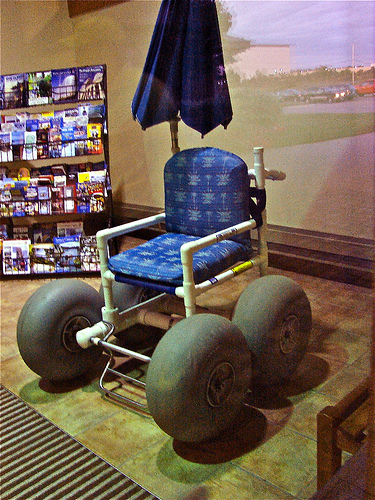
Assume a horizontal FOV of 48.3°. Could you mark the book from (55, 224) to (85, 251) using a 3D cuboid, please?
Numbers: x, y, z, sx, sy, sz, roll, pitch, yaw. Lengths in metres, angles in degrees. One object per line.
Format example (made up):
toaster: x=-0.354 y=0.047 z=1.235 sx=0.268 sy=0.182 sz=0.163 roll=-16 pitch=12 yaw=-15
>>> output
book: x=-1.072 y=-0.103 z=3.852 sx=0.269 sy=0.229 sz=0.157 roll=4 pitch=-5 yaw=5

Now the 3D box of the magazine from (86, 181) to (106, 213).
magazine: x=-0.806 y=-0.476 z=3.757 sx=0.144 sy=0.277 sz=0.091 roll=-4 pitch=12 yaw=5

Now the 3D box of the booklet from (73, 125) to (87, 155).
booklet: x=-0.928 y=-0.963 z=3.668 sx=0.131 sy=0.240 sz=0.051 roll=-6 pitch=12 yaw=-3

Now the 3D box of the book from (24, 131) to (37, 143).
book: x=-1.397 y=-1.004 z=3.718 sx=0.110 sy=0.107 sz=0.039 roll=-3 pitch=12 yaw=9

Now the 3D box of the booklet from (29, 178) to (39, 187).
booklet: x=-1.367 y=-0.606 z=3.739 sx=0.065 sy=0.055 sz=0.061 roll=0 pitch=-1 yaw=-2

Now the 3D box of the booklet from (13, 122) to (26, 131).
booklet: x=-1.497 y=-1.109 z=3.739 sx=0.095 sy=0.061 sz=0.013 roll=3 pitch=1 yaw=27

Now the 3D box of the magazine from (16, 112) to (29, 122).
magazine: x=-1.475 y=-1.189 z=3.735 sx=0.115 sy=0.096 sz=0.084 roll=-8 pitch=11 yaw=-40

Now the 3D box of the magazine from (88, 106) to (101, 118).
magazine: x=-0.802 y=-1.185 z=3.601 sx=0.128 sy=0.111 sz=0.091 roll=5 pitch=16 yaw=14

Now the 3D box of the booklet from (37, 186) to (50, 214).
booklet: x=-1.292 y=-0.450 z=3.763 sx=0.130 sy=0.245 sz=0.032 roll=-3 pitch=12 yaw=11

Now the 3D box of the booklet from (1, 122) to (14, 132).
booklet: x=-1.615 y=-1.100 z=3.755 sx=0.075 sy=0.095 sz=0.098 roll=5 pitch=8 yaw=27

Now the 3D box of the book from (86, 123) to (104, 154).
book: x=-0.860 y=-0.987 z=3.710 sx=0.179 sy=0.264 sz=0.162 roll=-8 pitch=18 yaw=-25

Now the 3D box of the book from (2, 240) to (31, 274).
book: x=-1.551 y=0.074 z=3.822 sx=0.342 sy=0.346 sz=0.028 roll=1 pitch=-6 yaw=-2

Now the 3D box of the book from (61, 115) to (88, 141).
book: x=-0.983 y=-1.065 z=3.651 sx=0.262 sy=0.206 sz=0.046 roll=-2 pitch=12 yaw=12

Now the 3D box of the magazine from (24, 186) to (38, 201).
magazine: x=-1.400 y=-0.516 z=3.751 sx=0.143 sy=0.124 sz=0.014 roll=2 pitch=7 yaw=-4

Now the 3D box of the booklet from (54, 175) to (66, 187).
booklet: x=-1.143 y=-0.617 z=3.739 sx=0.125 sy=0.108 sz=0.085 roll=-5 pitch=14 yaw=-23

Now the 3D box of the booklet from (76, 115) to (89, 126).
booklet: x=-0.917 y=-1.125 z=3.638 sx=0.099 sy=0.086 sz=0.025 roll=8 pitch=10 yaw=11

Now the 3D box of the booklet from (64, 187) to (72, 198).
booklet: x=-1.065 y=-0.514 z=3.736 sx=0.074 sy=0.096 sz=0.018 roll=-4 pitch=12 yaw=3

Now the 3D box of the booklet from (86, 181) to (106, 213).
booklet: x=-0.806 y=-0.476 z=3.757 sx=0.144 sy=0.277 sz=0.091 roll=-4 pitch=12 yaw=5

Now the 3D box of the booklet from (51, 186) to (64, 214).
booklet: x=-1.159 y=-0.449 z=3.753 sx=0.132 sy=0.238 sz=0.036 roll=-4 pitch=12 yaw=8

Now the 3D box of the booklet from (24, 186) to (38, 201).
booklet: x=-1.400 y=-0.514 z=3.751 sx=0.141 sy=0.115 sz=0.014 roll=2 pitch=6 yaw=-3

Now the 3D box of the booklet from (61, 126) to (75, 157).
booklet: x=-1.058 y=-0.957 z=3.687 sx=0.144 sy=0.251 sz=0.035 roll=-2 pitch=13 yaw=16

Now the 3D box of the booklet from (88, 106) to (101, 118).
booklet: x=-0.800 y=-1.187 z=3.600 sx=0.128 sy=0.111 sz=0.091 roll=5 pitch=16 yaw=14

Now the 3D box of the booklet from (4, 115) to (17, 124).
booklet: x=-1.588 y=-1.179 z=3.797 sx=0.073 sy=0.091 sz=0.081 roll=1 pitch=4 yaw=11

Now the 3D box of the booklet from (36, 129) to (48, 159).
booklet: x=-1.290 y=-0.946 z=3.721 sx=0.130 sy=0.248 sz=0.033 roll=-3 pitch=12 yaw=12

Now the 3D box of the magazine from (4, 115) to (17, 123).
magazine: x=-1.578 y=-1.173 z=3.743 sx=0.072 sy=0.087 sz=0.078 roll=2 pitch=5 yaw=16

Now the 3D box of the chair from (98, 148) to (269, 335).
chair: x=-0.036 y=-0.063 z=2.115 sx=0.623 sy=0.890 sz=0.727 roll=2 pitch=13 yaw=30

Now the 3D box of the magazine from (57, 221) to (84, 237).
magazine: x=-1.074 y=-0.197 z=3.865 sx=0.267 sy=0.160 sz=0.138 roll=2 pitch=17 yaw=7

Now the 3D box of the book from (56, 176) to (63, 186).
book: x=-1.143 y=-0.616 z=3.740 sx=0.081 sy=0.068 sz=0.018 roll=4 pitch=3 yaw=1

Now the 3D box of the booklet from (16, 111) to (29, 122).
booklet: x=-1.472 y=-1.191 z=3.767 sx=0.119 sy=0.099 sz=0.082 roll=-2 pitch=18 yaw=-13

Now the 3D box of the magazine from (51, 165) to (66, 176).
magazine: x=-1.158 y=-0.713 z=3.813 sx=0.104 sy=0.101 sz=0.103 roll=-6 pitch=35 yaw=6

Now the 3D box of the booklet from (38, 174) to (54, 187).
booklet: x=-1.255 y=-0.624 z=3.788 sx=0.111 sy=0.125 sz=0.103 roll=13 pitch=19 yaw=29

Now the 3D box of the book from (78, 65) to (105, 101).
book: x=-0.835 y=-1.458 z=3.642 sx=0.343 sy=0.335 sz=0.038 roll=5 pitch=16 yaw=21

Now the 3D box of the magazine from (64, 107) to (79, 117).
magazine: x=-1.002 y=-1.202 z=3.646 sx=0.122 sy=0.074 sz=0.062 roll=4 pitch=15 yaw=37
